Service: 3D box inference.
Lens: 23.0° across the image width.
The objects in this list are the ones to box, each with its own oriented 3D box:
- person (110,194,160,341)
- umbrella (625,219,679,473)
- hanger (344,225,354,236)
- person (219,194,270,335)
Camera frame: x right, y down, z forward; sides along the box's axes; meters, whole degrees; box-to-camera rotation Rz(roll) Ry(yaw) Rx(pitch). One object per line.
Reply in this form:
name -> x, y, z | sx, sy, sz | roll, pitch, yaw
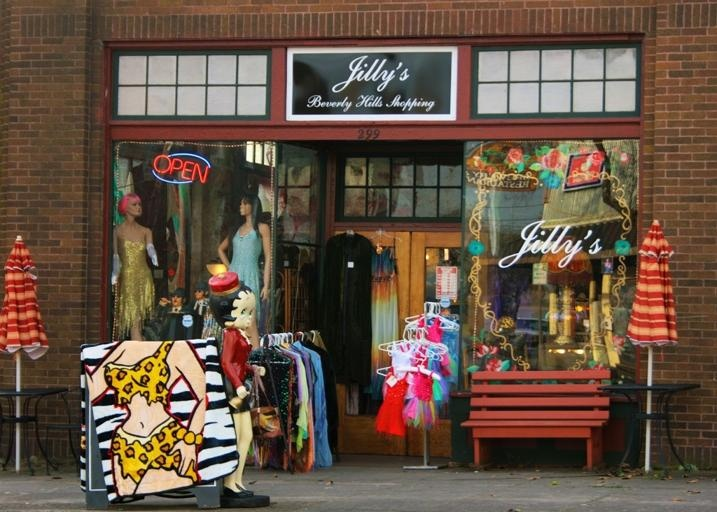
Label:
person -> -2.911, 0.166, 22.858 | 0.537, 1.905, 0.446 | -1, 3, -18
umbrella -> 3.594, 1.128, 21.569 | 0.541, 3.096, 0.671 | -2, -2, 33
hanger -> -0.121, -0.298, 23.356 | 0.130, 0.110, 0.164 | -1, -2, 0
person -> -1.440, 0.113, 22.664 | 0.574, 1.759, 0.476 | 1, 2, -2
